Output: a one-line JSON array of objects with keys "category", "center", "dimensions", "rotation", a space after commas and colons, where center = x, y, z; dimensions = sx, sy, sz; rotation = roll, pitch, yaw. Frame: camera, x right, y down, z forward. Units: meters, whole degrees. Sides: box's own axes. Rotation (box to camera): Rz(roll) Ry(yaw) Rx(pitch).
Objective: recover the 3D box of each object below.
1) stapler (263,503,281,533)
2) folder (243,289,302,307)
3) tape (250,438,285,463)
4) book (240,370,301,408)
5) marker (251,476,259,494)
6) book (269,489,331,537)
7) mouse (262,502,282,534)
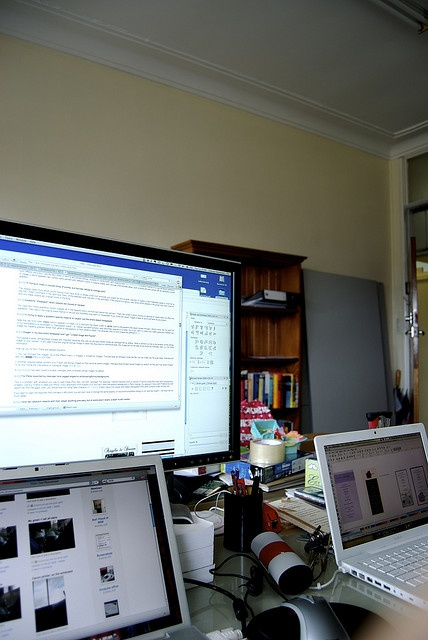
[{"category": "stapler", "center": [0.112, 0.398, 0.916], "dimensions": [0.021, 0.043, 0.083], "rotation": [3, -7, -16]}, {"category": "folder", "center": [0.434, -0.143, 3.278], "dimensions": [0.475, 0.113, 0.221], "rotation": [-2, -3, -16]}, {"category": "tape", "center": [0.146, 0.335, 1.215], "dimensions": [0.063, 0.043, 0.066], "rotation": [0, -3, 31]}, {"category": "book", "center": [0.358, 0.510, 3.276], "dimensions": [0.499, 0.291, 0.195], "rotation": [-1, -3, -32]}, {"category": "marker", "center": [0.077, 0.307, 0.863], "dimensions": [0.015, 0.029, 0.059], "rotation": [-2, -3, 4]}, {"category": "book", "center": [0.183, 0.414, 0.976], "dimensions": [0.100, 0.026, 0.179], "rotation": [21, -4, 29]}, {"category": "mouse", "center": [0.113, 0.400, 0.916], "dimensions": [0.021, 0.043, 0.085], "rotation": [3, -7, -16]}]
